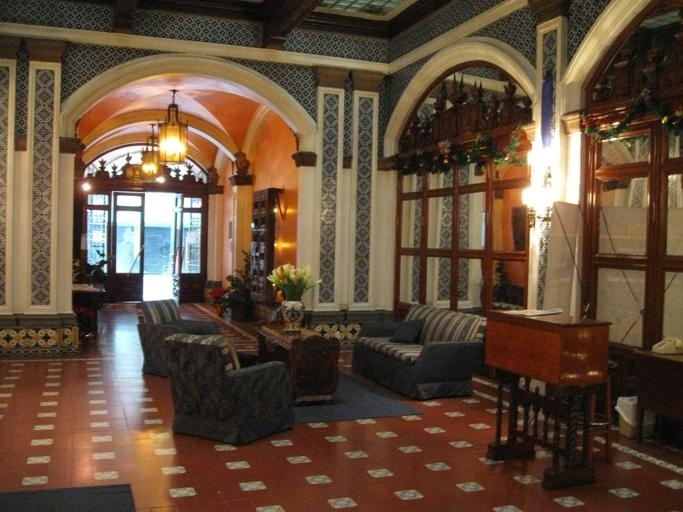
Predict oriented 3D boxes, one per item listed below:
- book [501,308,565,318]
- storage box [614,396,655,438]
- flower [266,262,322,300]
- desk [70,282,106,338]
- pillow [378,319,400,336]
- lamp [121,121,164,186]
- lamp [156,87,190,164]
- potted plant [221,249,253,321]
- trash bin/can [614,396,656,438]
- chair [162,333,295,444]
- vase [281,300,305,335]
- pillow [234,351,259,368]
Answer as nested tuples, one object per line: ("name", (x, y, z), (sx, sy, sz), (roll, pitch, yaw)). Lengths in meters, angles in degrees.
("book", (1.862, 0.547, 5.291), (0.561, 0.035, 0.446), (0, 2, -32))
("storage box", (3.187, 1.788, 6.231), (0.486, 0.436, 0.409), (-1, 2, -11))
("flower", (-0.730, 0.370, 7.798), (0.531, 0.522, 0.431), (2, 2, 9))
("desk", (-5.023, 1.117, 10.890), (0.516, 1.023, 1.156), (1, 2, -25))
("pillow", (0.768, 1.139, 8.797), (0.316, 0.141, 0.208), (1, 1, 4))
("lamp", (-5.740, -3.048, 15.876), (1.041, 1.815, 3.449), (1, 2, -22))
("lamp", (-3.205, -2.346, 10.440), (0.493, 1.152, 0.372), (2, 2, -7))
("potted plant", (-2.683, 0.768, 14.419), (0.745, 1.781, 2.090), (2, 2, -12))
("trash bin/can", (3.230, 1.792, 6.242), (0.486, 0.438, 0.414), (-1, 1, -13))
("chair", (-1.099, 1.326, 5.957), (1.172, 1.087, 1.231), (0, 0, 37))
("vase", (-0.679, 0.841, 7.716), (0.440, 0.399, 0.372), (0, -1, -2))
("pillow", (-1.297, 1.397, 7.513), (0.283, 0.212, 0.268), (3, -2, -27))
